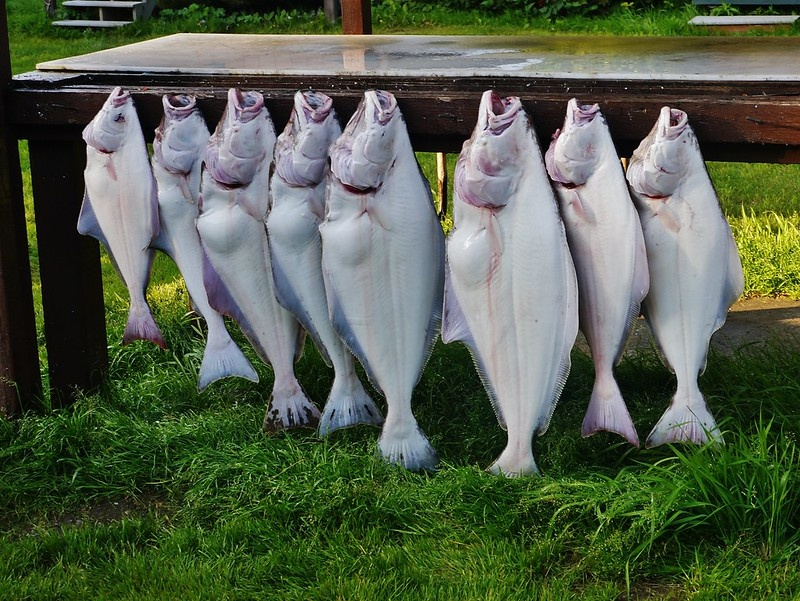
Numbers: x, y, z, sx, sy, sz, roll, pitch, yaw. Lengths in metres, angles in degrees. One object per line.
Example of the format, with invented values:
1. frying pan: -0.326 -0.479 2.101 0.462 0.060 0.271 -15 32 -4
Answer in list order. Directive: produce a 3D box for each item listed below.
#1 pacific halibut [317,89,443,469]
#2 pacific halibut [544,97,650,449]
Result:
1. pacific halibut: -0.069 -0.072 4.007 0.466 1.617 0.337 5 20 23
2. pacific halibut: 0.787 -0.116 3.784 0.426 1.343 0.385 3 19 18
